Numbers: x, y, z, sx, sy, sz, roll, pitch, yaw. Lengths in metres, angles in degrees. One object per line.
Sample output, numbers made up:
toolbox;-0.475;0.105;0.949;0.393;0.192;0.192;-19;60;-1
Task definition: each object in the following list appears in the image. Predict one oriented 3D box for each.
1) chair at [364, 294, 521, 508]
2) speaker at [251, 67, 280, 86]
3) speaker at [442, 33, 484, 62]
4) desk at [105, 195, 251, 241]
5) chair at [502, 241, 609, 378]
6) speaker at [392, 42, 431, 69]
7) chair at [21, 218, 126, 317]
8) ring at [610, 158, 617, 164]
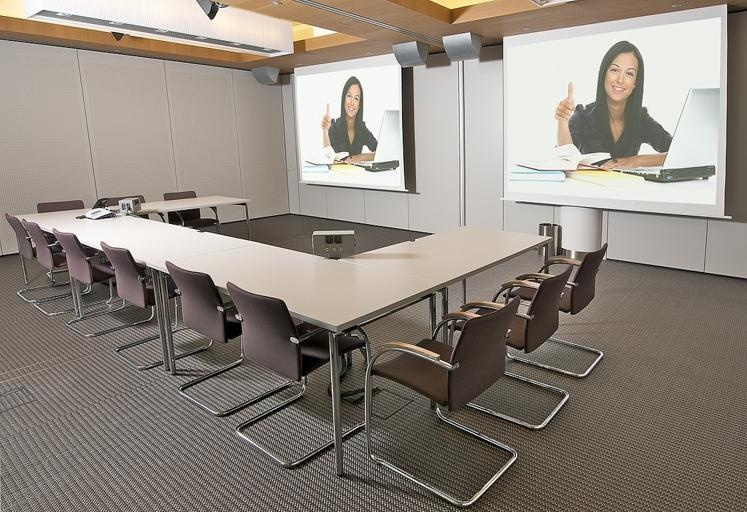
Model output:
chair;0.502;1.096;3.452;1.015;1.381;1.005;12;19;39
speaker;-2.224;-3.818;10.106;0.551;0.315;0.429;8;18;31
speaker;1.398;-3.195;7.293;0.402;0.283;0.424;10;32;38
desk;-3.077;-0.602;7.342;0.651;0.541;1.155;15;22;41
chair;1.744;0.430;4.501;0.832;1.088;0.817;3;14;27
speaker;0.575;-3.228;7.717;0.348;0.270;0.444;9;18;34
chair;-3.602;0.124;5.715;1.104;0.738;0.621;13;17;43
ring;3.370;-1.337;6.713;0.087;0.078;0.021;5;5;32
